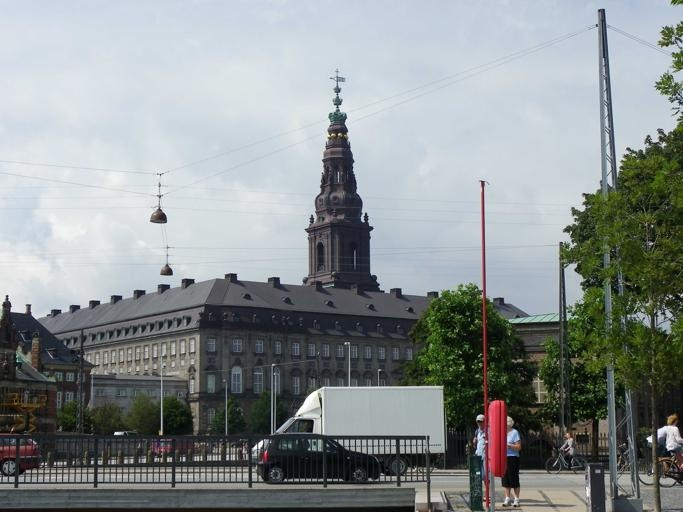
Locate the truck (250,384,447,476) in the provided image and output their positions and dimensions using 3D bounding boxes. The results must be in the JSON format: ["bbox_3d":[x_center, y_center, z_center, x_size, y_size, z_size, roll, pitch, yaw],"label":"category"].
[{"bbox_3d":[0.473,6.774,71.291,8.663,4.269,3.321,1,-8,-5],"label":"truck"}]

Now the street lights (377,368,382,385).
[{"bbox_3d":[4.441,14.322,189.412,0.497,1.934,0.969,-2,0,14],"label":"street lights"}]

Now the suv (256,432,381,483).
[{"bbox_3d":[-1.129,7.486,59.826,3.474,1.978,1.202,0,-10,-2],"label":"suv"}]
